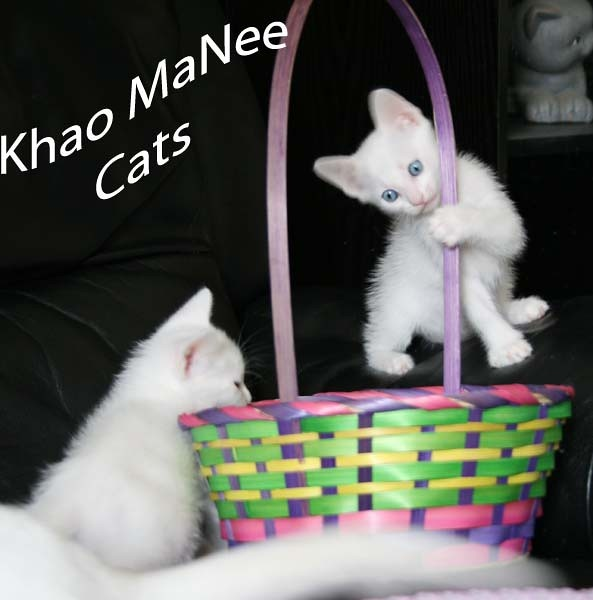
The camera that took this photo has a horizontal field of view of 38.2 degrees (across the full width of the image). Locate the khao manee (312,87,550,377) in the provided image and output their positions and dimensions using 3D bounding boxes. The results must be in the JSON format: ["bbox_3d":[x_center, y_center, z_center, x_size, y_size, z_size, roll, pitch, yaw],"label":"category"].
[{"bbox_3d":[0.214,-0.109,1.316,0.337,0.400,0.323,-31,22,-10],"label":"khao manee"}]
